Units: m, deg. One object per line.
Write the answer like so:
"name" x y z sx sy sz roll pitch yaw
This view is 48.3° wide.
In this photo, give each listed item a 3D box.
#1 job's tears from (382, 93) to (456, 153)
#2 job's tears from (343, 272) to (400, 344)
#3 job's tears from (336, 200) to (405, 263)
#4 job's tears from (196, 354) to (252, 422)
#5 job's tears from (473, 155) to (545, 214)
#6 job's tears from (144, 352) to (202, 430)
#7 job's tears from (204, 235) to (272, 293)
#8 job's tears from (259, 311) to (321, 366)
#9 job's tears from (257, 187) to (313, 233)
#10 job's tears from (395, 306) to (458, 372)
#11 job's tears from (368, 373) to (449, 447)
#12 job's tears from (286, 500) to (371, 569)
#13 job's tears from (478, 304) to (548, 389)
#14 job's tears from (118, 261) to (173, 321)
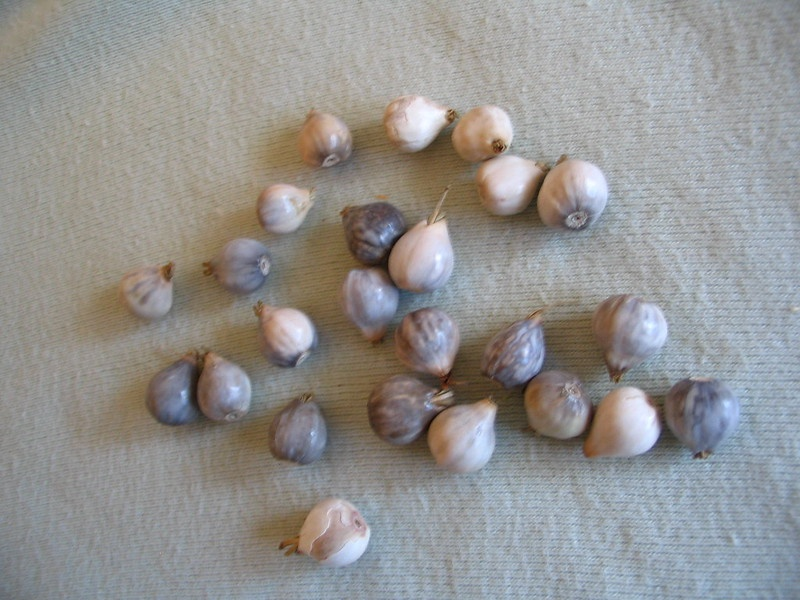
"job's tears" 0.037 -0.295 1.566 0.109 0.059 0.089 6 55 29
"job's tears" -0.052 0.009 1.550 0.098 0.104 0.136 -10 96 -42
"job's tears" -0.042 -0.112 1.555 0.105 0.069 0.089 39 86 20
"job's tears" -0.304 0.156 1.576 0.085 0.084 0.117 -23 82 -11
"job's tears" 0.189 -0.195 1.520 0.119 0.037 0.093 9 82 4
"job's tears" -0.392 0.177 1.596 0.106 0.136 0.114 23 66 -34
"job's tears" -0.274 -0.055 1.561 0.102 0.086 0.090 -2 75 18
"job's tears" -0.193 0.063 1.536 0.093 0.042 0.096 -3 81 3
"job's tears" -0.203 -0.159 1.560 0.094 0.035 0.082 9 82 4
"job's tears" 0.045 0.066 1.489 0.106 0.044 0.104 15 83 5
"job's tears" 0.014 0.175 1.496 0.149 0.111 0.124 -9 109 -6
"job's tears" -0.119 0.405 1.504 0.108 0.052 0.136 44 86 8
"job's tears" 0.199 0.088 1.493 0.096 0.076 0.143 37 81 24
"job's tears" -0.448 -0.012 1.580 0.075 0.056 0.059 -33 43 32
